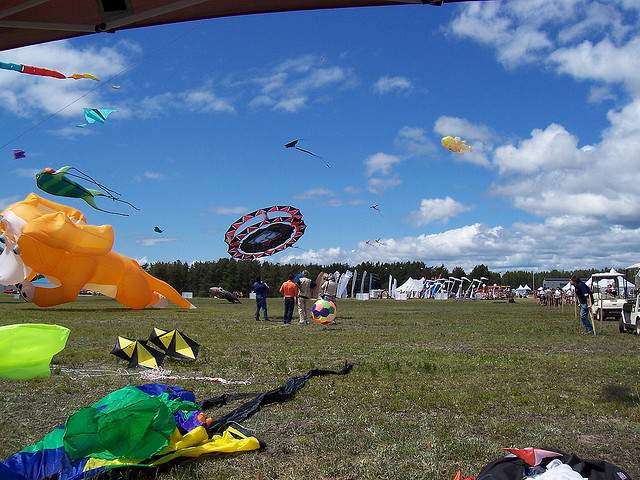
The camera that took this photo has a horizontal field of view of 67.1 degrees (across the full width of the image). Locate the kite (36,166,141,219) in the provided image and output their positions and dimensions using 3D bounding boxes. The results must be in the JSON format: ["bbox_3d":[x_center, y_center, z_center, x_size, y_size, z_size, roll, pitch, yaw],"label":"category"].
[{"bbox_3d":[-10.803,-2.106,22.551,4.803,1.403,1.632,21,-47,-3],"label":"kite"}]

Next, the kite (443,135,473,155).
[{"bbox_3d":[4.241,-2.880,14.882,0.441,0.754,0.956,6,-12,-12],"label":"kite"}]

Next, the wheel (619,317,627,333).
[{"bbox_3d":[11.506,3.232,18.377,0.189,0.487,0.510,-2,-39,32],"label":"wheel"}]

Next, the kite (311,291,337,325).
[{"bbox_3d":[0.163,2.865,20.848,1.243,1.513,1.183,-1,-8,15],"label":"kite"}]

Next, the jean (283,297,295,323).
[{"bbox_3d":[-1.396,3.144,21.651,0.414,1.098,0.850,4,-11,-3],"label":"jean"}]

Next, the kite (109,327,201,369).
[{"bbox_3d":[-3.822,2.631,10.970,1.096,0.281,1.147,12,12,28],"label":"kite"}]
